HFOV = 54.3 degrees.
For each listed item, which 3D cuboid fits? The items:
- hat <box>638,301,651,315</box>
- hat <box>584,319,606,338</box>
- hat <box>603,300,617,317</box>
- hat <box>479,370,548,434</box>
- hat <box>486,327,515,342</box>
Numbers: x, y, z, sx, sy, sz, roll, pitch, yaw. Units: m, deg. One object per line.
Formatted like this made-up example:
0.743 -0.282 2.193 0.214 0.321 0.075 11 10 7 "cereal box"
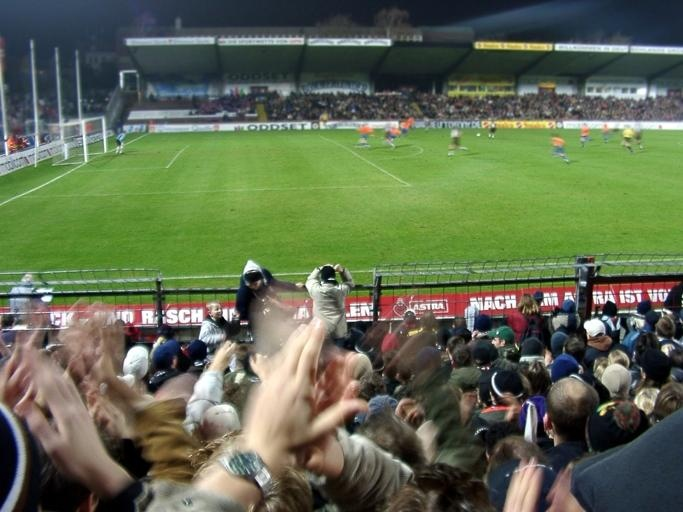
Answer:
4.586 0.772 10.118 0.190 0.226 0.219 -2 6 44 "hat"
3.291 0.936 8.650 0.182 0.308 0.154 -16 47 3 "hat"
3.937 0.759 9.778 0.164 0.213 0.233 10 33 21 "hat"
1.480 1.298 5.770 0.346 0.257 0.477 -7 19 1 "hat"
2.003 0.977 8.401 0.269 0.171 0.190 4 3 31 "hat"
